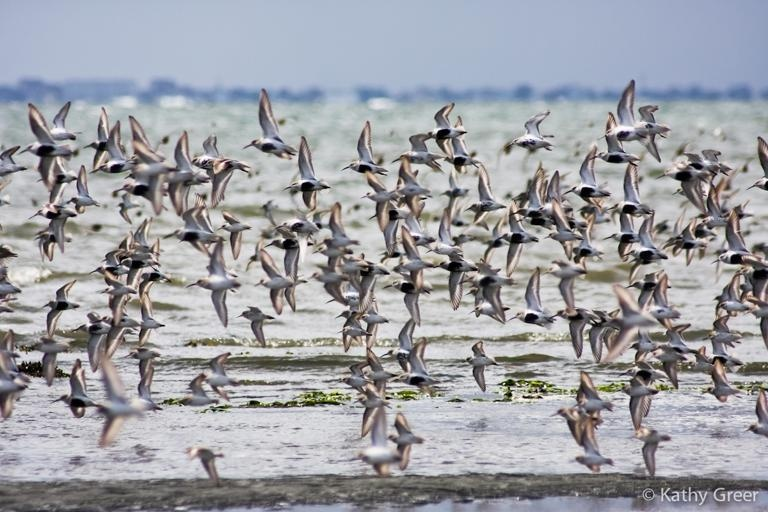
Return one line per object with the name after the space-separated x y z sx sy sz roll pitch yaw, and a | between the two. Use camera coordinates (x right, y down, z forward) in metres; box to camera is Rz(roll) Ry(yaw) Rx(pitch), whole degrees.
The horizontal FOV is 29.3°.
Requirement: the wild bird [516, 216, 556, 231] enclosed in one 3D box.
3.532 -0.754 33.580 0.681 0.204 0.388 8 9 3 | wild bird

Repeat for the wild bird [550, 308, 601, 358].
4.320 1.597 32.660 1.328 0.985 0.350 -5 2 -9 | wild bird

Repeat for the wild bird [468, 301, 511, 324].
2.557 1.176 33.175 0.749 0.210 0.709 -2 -10 -37 | wild bird

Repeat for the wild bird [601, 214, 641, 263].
6.132 -0.463 37.558 0.438 1.401 1.723 32 -34 32 | wild bird

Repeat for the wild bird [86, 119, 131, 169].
-6.109 -2.431 33.158 0.673 1.142 1.175 10 -18 -26 | wild bird

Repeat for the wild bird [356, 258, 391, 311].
-0.192 0.607 33.018 0.641 1.102 0.996 2 -16 -1 | wild bird

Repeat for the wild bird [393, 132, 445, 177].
0.701 -2.421 33.217 1.057 0.214 0.917 -14 -37 -10 | wild bird

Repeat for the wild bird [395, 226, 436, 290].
0.734 -0.029 32.781 0.773 1.334 1.321 1 -16 1 | wild bird

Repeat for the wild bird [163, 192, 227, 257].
-4.091 -0.556 32.500 0.707 1.040 1.259 -16 -26 37 | wild bird

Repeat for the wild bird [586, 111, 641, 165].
5.102 -2.491 32.816 0.878 1.126 1.182 41 -43 -22 | wild bird

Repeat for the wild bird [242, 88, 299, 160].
-2.412 -2.851 32.517 0.941 1.299 1.158 3 -16 -5 | wild bird

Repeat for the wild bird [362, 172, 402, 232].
0.010 -1.316 32.844 0.764 1.167 1.283 1 -15 1 | wild bird

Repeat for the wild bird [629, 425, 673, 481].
5.557 3.964 30.195 0.655 0.975 1.617 -1 -15 9 | wild bird

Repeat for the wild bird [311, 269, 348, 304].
-1.140 0.554 32.946 0.707 0.792 1.075 2 -15 -1 | wild bird

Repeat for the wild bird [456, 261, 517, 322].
2.471 0.758 32.955 0.927 1.440 0.922 3 -17 -5 | wild bird

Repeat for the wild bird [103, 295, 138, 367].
-5.877 1.525 32.980 0.666 1.523 0.850 4 -17 -9 | wild bird

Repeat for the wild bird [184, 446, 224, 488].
-3.548 4.115 29.255 0.796 1.200 0.433 -2 20 4 | wild bird

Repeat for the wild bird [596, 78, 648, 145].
5.449 -3.110 32.311 0.858 1.162 1.235 3 -16 -4 | wild bird

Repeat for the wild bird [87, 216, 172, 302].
-5.718 0.028 33.363 1.236 1.919 1.375 5 -17 -10 | wild bird
